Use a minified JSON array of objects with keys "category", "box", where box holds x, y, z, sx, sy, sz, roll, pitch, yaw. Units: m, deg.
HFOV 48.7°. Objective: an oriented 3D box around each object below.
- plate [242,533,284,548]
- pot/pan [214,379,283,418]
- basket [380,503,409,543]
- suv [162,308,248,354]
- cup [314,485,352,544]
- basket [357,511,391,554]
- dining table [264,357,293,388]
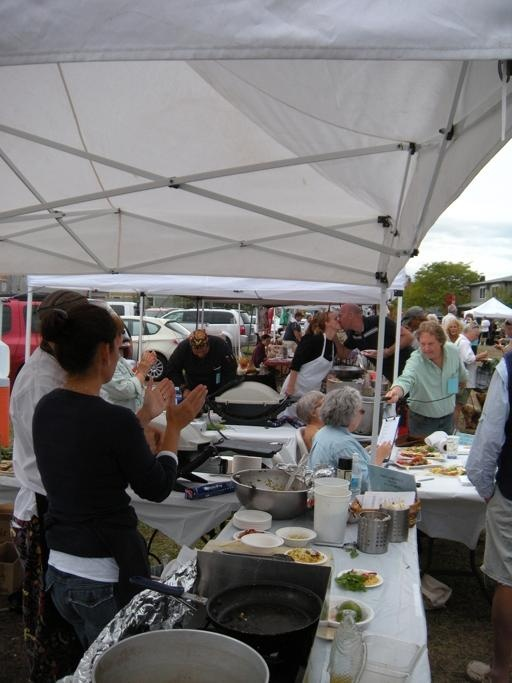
[{"category":"plate","box":[0.026,0.743,2.091,0.078,0.017,0.077,1,1,31]},{"category":"pot/pan","box":[-0.063,0.438,4.200,0.419,0.212,0.253,-1,-1,8]},{"category":"basket","box":[0.573,0.745,2.342,0.151,0.149,0.142,0,-1,-7]},{"category":"suv","box":[-1.369,-0.423,17.518,2.626,0.967,1.204,5,3,-7]},{"category":"cup","box":[0.298,0.710,2.353,0.212,0.204,0.189,3,5,2]},{"category":"basket","box":[0.472,0.767,2.222,0.110,0.112,0.112,-8,-17,39]},{"category":"dining table","box":[0.465,0.580,11.862,0.601,0.652,0.720,2,6,17]}]
